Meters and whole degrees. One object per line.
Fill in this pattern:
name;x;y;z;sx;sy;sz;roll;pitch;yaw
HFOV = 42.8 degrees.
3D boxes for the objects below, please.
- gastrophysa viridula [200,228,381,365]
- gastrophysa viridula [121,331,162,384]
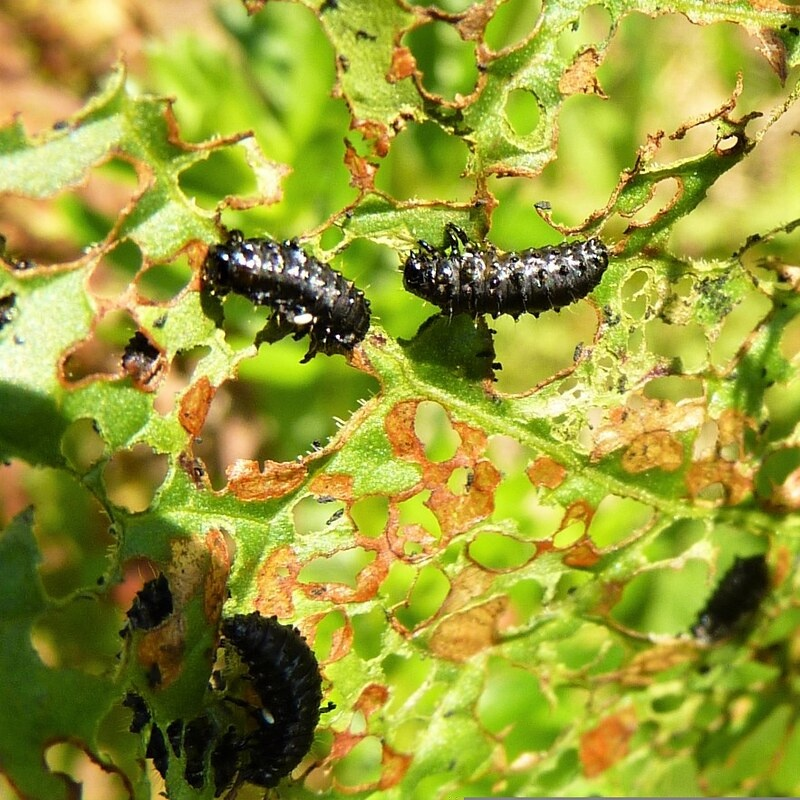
gastrophysa viridula;-0.309;-0.269;2.786;0.442;0.329;0.109;-5;18;-8
gastrophysa viridula;-0.686;-0.108;2.684;0.123;0.132;0.036;-3;-2;-15
